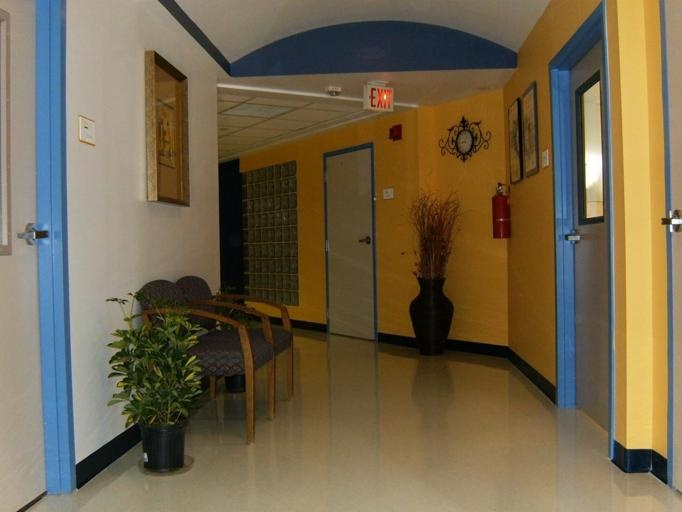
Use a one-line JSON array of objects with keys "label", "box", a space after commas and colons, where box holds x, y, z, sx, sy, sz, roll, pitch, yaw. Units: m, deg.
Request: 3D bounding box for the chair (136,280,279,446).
[{"label": "chair", "box": [-0.845, 0.712, 4.455, 1.006, 1.124, 1.140, -2, 3, 33]}]

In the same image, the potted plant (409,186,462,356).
[{"label": "potted plant", "box": [1.016, 0.174, 6.412, 0.500, 1.699, 0.629, 0, 5, 12]}]

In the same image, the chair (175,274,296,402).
[{"label": "chair", "box": [-0.818, 0.688, 4.474, 1.010, 1.044, 1.112, -2, 5, -21]}]

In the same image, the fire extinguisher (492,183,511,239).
[{"label": "fire extinguisher", "box": [1.601, -0.446, 5.860, 0.181, 0.547, 0.295, 0, 5, 15]}]

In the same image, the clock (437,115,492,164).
[{"label": "clock", "box": [1.368, -1.278, 6.412, 0.046, 0.491, 0.526, -5, 7, -40]}]

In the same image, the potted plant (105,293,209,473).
[{"label": "potted plant", "box": [-1.186, 0.783, 3.782, 0.587, 1.062, 0.617, -3, 6, -22]}]
